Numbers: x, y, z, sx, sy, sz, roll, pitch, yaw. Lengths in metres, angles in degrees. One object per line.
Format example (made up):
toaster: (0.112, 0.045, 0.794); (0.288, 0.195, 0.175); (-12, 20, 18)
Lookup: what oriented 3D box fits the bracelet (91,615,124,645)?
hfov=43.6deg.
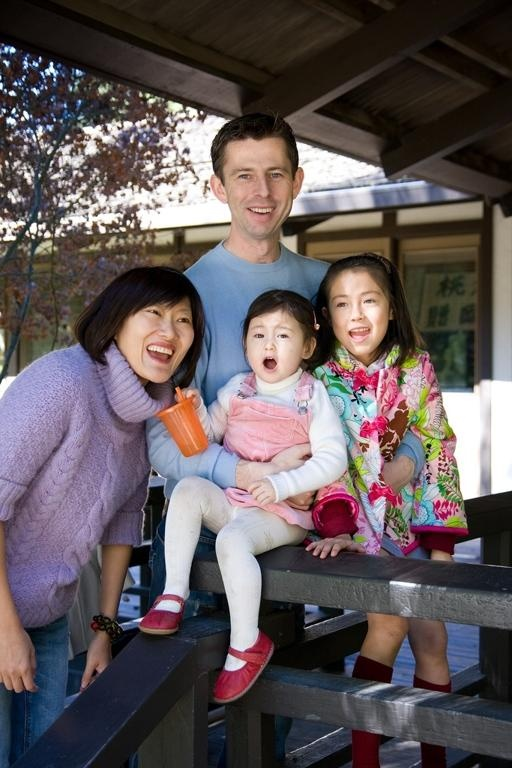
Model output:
bracelet: (-0.407, 0.668, 1.730); (0.029, 0.062, 0.089); (-25, -41, 33)

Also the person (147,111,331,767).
person: (-0.082, 0.084, 2.035); (0.641, 1.717, 0.560); (-5, 18, -34)
